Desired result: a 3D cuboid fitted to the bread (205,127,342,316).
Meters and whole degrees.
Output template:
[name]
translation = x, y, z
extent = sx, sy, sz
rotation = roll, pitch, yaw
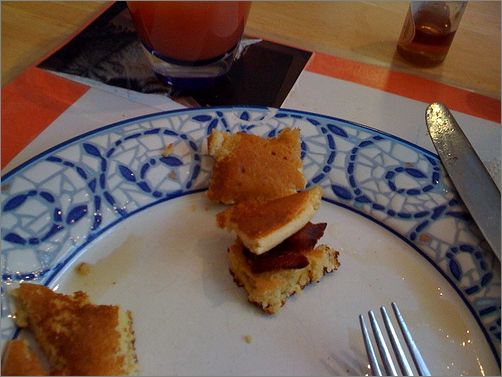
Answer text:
[bread]
translation = 0.027, 0.096, 1.008
extent = 0.229, 0.124, 0.358
rotation = -20, 69, -19
